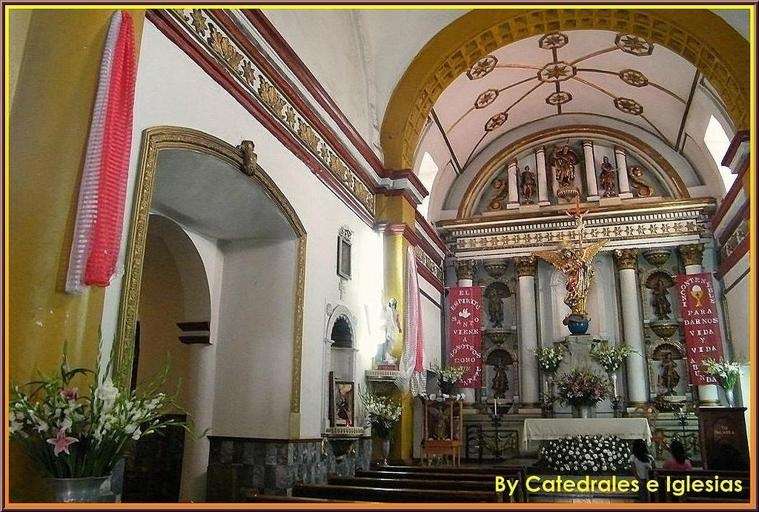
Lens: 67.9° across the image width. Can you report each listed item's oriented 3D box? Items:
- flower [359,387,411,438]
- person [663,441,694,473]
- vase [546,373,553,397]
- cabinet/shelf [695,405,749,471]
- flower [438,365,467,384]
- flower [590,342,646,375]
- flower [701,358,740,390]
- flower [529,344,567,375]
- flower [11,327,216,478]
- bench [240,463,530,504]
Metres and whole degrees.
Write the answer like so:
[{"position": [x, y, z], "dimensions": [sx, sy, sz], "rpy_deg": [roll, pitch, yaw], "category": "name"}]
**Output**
[{"position": [0.068, 2.769, 9.897], "dimensions": [0.539, 0.812, 0.960], "rpy_deg": [-4, -18, 12], "category": "flower"}, {"position": [4.049, 2.697, 7.667], "dimensions": [0.310, 0.345, 1.041], "rpy_deg": [-9, -19, 25], "category": "person"}, {"position": [4.146, 3.106, 13.648], "dimensions": [0.245, 0.492, 0.091], "rpy_deg": [-17, -24, 41], "category": "vase"}, {"position": [5.163, 2.677, 8.355], "dimensions": [0.703, 0.925, 2.571], "rpy_deg": [-10, -19, 27], "category": "cabinet/shelf"}, {"position": [1.562, 2.691, 12.822], "dimensions": [0.509, 0.298, 0.511], "rpy_deg": [-6, -13, 26], "category": "flower"}, {"position": [5.489, 2.334, 13.066], "dimensions": [0.950, 0.560, 0.926], "rpy_deg": [6, -19, 5], "category": "flower"}, {"position": [7.320, 2.466, 11.989], "dimensions": [0.715, 0.685, 0.696], "rpy_deg": [-11, -13, 41], "category": "flower"}, {"position": [4.080, 2.468, 13.555], "dimensions": [0.748, 0.685, 0.739], "rpy_deg": [-3, -14, 11], "category": "flower"}, {"position": [-2.465, 1.297, 4.748], "dimensions": [1.142, 1.012, 1.334], "rpy_deg": [9, -20, -28], "category": "flower"}, {"position": [0.337, 2.575, 6.179], "dimensions": [2.234, 0.301, 3.301], "rpy_deg": [-6, -18, 16], "category": "bench"}]
